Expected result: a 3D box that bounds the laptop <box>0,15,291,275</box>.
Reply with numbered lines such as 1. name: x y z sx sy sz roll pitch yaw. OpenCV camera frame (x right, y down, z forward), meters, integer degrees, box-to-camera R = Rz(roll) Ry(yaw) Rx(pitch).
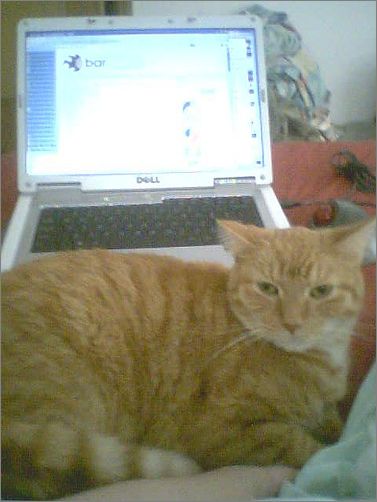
1. laptop: -0.094 -0.242 1.149 0.604 0.360 0.525 -2 55 -2
